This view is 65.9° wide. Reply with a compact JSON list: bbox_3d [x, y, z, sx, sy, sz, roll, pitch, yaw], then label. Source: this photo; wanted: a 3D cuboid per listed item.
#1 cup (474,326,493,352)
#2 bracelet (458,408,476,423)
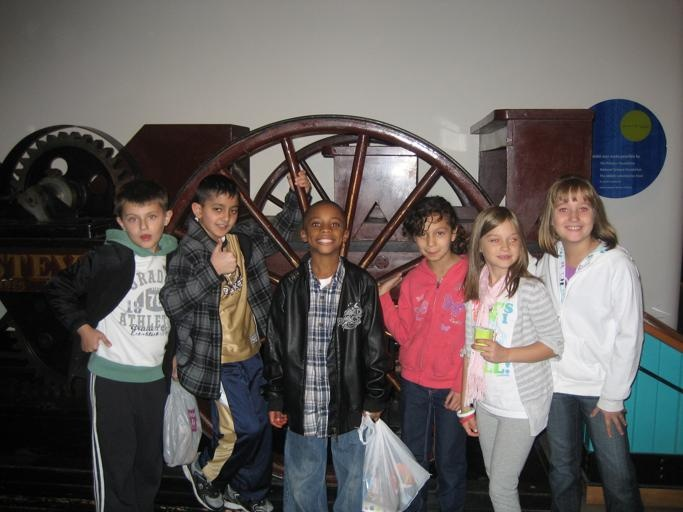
[{"bbox_3d":[0.593,0.337,2.200,0.078,0.083,0.083,-2,11,1],"label":"cup"},{"bbox_3d":[0.549,0.689,2.337,0.076,0.065,0.073,10,-4,14],"label":"bracelet"}]
